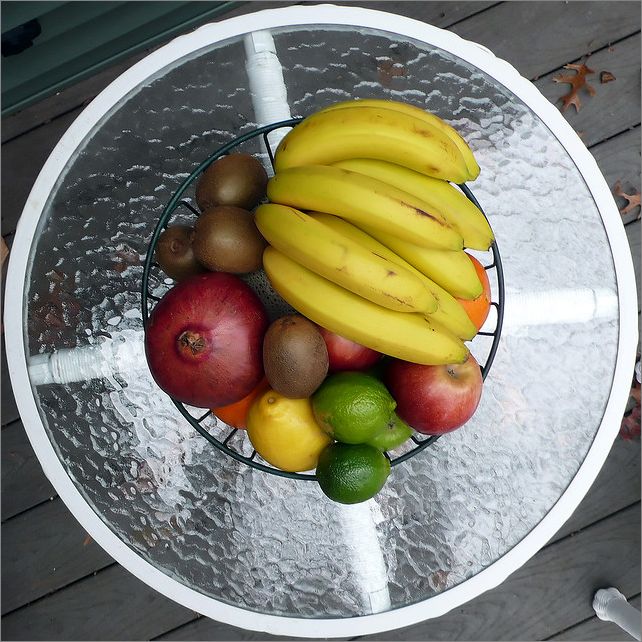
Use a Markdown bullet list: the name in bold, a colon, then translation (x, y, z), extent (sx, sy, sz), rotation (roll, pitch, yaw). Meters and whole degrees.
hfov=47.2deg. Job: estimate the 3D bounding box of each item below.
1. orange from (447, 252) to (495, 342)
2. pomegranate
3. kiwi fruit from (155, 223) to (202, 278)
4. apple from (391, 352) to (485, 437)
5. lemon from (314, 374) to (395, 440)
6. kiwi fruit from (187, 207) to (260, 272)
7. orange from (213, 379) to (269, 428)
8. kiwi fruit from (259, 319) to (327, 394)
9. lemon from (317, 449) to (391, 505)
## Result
- **orange**: translation (0.175, -0.028, 0.942), extent (0.062, 0.105, 0.050), rotation (27, 56, 16)
- **pomegranate**: translation (-0.128, 0.022, 0.905), extent (0.165, 0.147, 0.129), rotation (-4, 51, -4)
- **kiwi fruit**: translation (-0.169, -0.078, 0.890), extent (0.067, 0.073, 0.059), rotation (-3, 74, 2)
- **apple**: translation (0.130, 0.083, 0.921), extent (0.106, 0.091, 0.096), rotation (-19, 55, -9)
- **lemon**: translation (0.034, 0.088, 0.894), extent (0.117, 0.070, 0.116), rotation (1, 44, 3)
- **kiwi fruit**: translation (-0.108, -0.093, 0.859), extent (0.078, 0.080, 0.076), rotation (-22, 84, -1)
- **orange**: translation (-0.091, 0.107, 0.924), extent (0.063, 0.078, 0.050), rotation (-29, 61, -21)
- **kiwi fruit**: translation (-0.029, 0.039, 0.821), extent (0.071, 0.052, 0.094), rotation (-9, 84, 1)
- **lemon**: translation (0.036, 0.176, 0.849), extent (0.077, 0.043, 0.067), rotation (-1, 84, 1)
